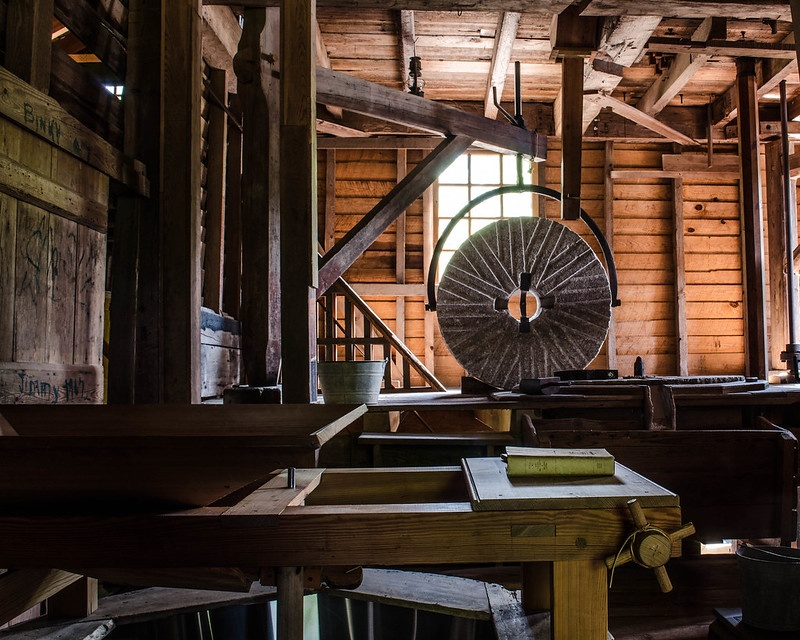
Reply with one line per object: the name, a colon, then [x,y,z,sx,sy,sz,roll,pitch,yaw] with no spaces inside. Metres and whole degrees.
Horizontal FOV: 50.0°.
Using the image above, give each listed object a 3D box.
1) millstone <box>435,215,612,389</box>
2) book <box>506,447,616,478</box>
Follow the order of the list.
millstone: [0.795,-0.098,5.558,1.173,1.109,0.329,1,1,-2]
book: [0.550,0.490,2.939,0.361,0.115,0.203,-4,-11,7]
